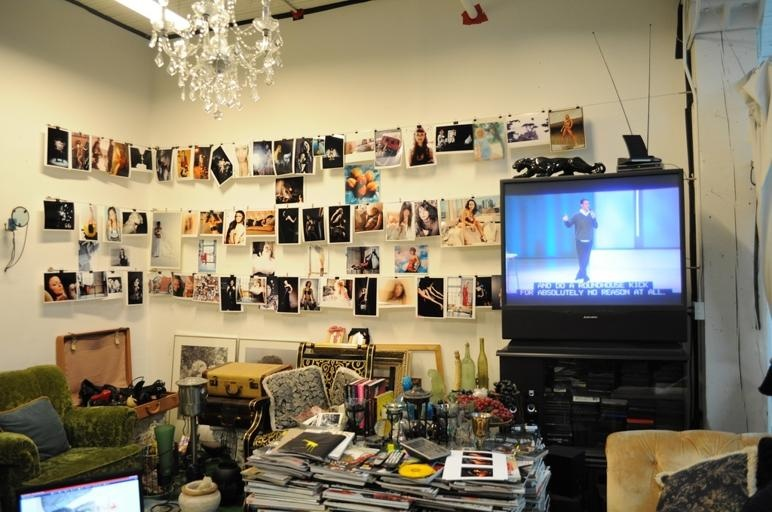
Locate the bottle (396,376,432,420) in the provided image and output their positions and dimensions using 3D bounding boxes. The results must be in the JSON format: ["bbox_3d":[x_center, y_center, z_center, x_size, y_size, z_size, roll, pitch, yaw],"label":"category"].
[{"bbox_3d":[0.237,1.067,4.530,0.231,0.314,0.229,-2,-5,0],"label":"bottle"}]

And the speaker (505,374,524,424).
[{"bbox_3d":[1.044,1.178,5.037,0.114,0.139,0.411,23,22,0],"label":"speaker"}]

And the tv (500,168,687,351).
[{"bbox_3d":[1.806,0.063,5.076,1.628,1.432,0.565,0,1,12],"label":"tv"}]

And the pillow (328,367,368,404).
[{"bbox_3d":[-0.363,1.228,5.660,0.350,0.383,0.331,15,-10,-3],"label":"pillow"}]

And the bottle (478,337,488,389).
[{"bbox_3d":[0.931,1.029,5.760,0.114,0.482,0.246,-2,-5,8],"label":"bottle"}]

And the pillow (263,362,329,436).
[{"bbox_3d":[-0.774,1.299,5.374,0.529,0.526,0.126,-12,-2,-35],"label":"pillow"}]

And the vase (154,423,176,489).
[{"bbox_3d":[-2.200,1.983,5.985,0.201,0.563,0.351,0,-5,-17],"label":"vase"}]

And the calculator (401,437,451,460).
[{"bbox_3d":[0.285,1.351,4.200,0.173,0.040,0.172,8,4,18],"label":"calculator"}]

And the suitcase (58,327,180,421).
[{"bbox_3d":[-2.809,1.233,6.360,0.887,0.889,1.056,-3,-2,30],"label":"suitcase"}]

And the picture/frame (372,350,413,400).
[{"bbox_3d":[0.064,1.153,5.926,0.409,0.542,0.405,-1,-8,15],"label":"picture/frame"}]

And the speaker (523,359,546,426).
[{"bbox_3d":[1.247,1.174,5.145,0.146,0.654,0.247,3,28,18],"label":"speaker"}]

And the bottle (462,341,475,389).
[{"bbox_3d":[0.789,1.048,5.766,0.141,0.416,0.317,-2,-5,8],"label":"bottle"}]

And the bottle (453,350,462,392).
[{"bbox_3d":[0.701,1.100,5.856,0.072,0.364,0.221,-2,-5,5],"label":"bottle"}]

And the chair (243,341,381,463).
[{"bbox_3d":[-0.485,1.300,5.646,0.838,1.211,0.977,3,-20,22],"label":"chair"}]

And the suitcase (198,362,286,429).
[{"bbox_3d":[-1.467,1.310,6.242,0.754,0.509,0.655,2,2,16],"label":"suitcase"}]
